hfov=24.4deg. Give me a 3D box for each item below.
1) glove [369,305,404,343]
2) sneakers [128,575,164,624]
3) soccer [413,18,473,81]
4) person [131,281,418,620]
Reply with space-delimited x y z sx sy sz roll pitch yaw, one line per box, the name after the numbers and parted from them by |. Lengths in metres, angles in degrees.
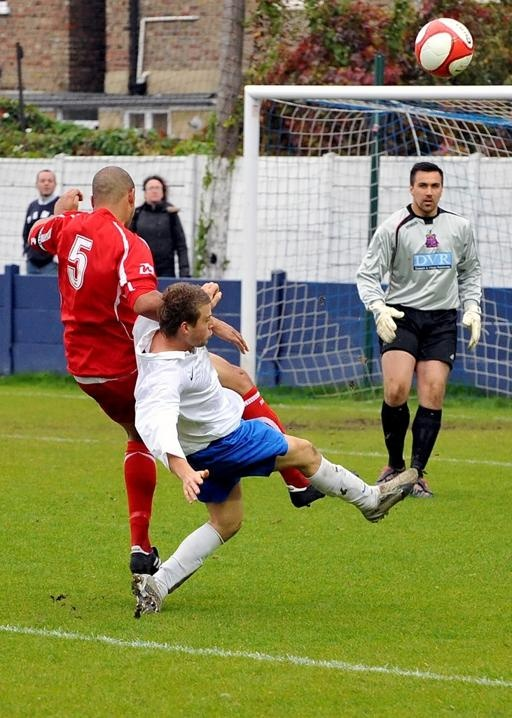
0.682 -0.178 6.291 0.158 0.213 0.070 -43 16 -29 | glove
-0.416 0.918 4.535 0.082 0.203 0.093 7 52 20 | sneakers
1.282 -2.155 8.128 0.377 0.390 0.336 1 7 6 | soccer
-0.107 0.340 4.599 0.562 1.287 1.150 6 9 36 | person
